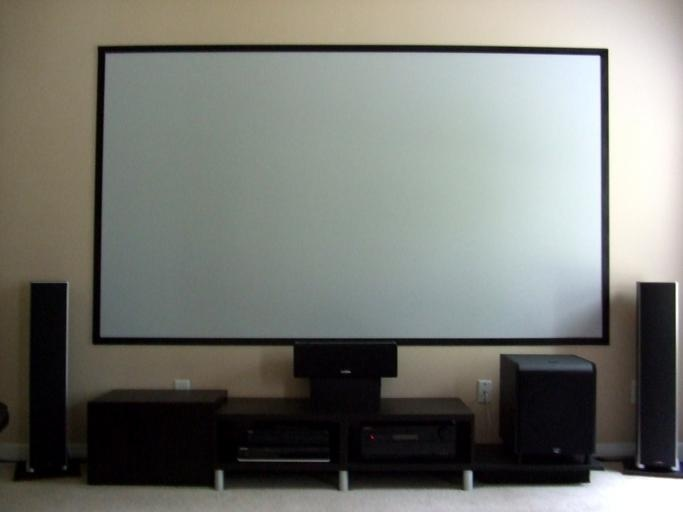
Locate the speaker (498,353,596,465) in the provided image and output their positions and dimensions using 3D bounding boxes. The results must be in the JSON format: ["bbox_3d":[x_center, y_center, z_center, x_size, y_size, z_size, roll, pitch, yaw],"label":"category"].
[{"bbox_3d":[1.326,1.029,4.502,0.588,0.703,0.628,1,-6,2],"label":"speaker"}]

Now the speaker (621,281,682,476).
[{"bbox_3d":[2.117,0.792,4.380,0.245,1.222,0.102,-1,-4,21],"label":"speaker"}]
